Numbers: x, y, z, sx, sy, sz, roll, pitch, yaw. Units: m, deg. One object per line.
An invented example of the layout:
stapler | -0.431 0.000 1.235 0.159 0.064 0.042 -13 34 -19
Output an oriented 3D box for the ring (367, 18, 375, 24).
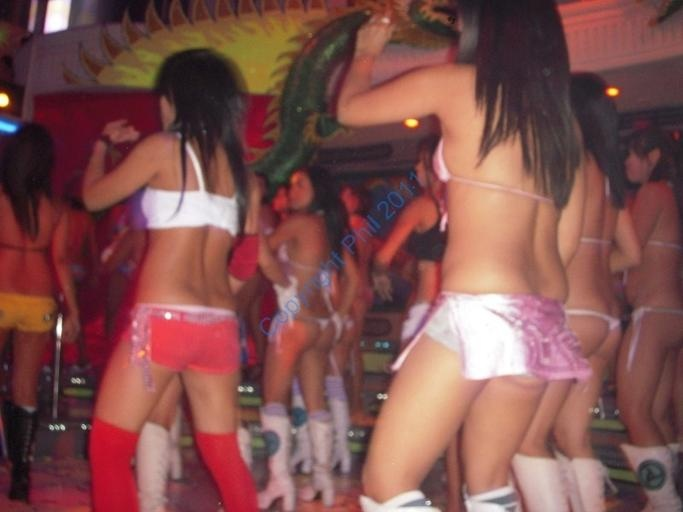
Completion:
ring | 0.122 -0.954 2.558 0.019 0.019 0.005 -33 11 7

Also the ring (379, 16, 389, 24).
ring | 0.181 -0.953 2.556 0.023 0.032 0.005 -30 18 -1

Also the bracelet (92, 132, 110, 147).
bracelet | -1.155 -0.559 3.029 0.018 0.064 0.069 -47 4 5

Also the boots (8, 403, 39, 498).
boots | -1.982 1.216 3.915 0.157 0.635 0.269 6 -2 -36
